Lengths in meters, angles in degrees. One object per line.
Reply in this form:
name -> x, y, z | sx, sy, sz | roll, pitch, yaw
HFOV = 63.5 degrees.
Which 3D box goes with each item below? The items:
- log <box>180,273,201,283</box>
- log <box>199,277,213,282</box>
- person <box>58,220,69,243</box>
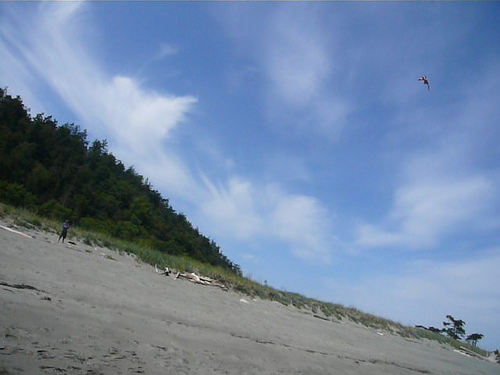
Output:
log -> -3.068, 4.669, 21.068 | 1.019, 0.383, 0.624 | 17, -6, -28
log -> -2.339, 4.936, 21.722 | 0.271, 0.143, 0.984 | 11, -7, 30
person -> -8.995, 2.081, 19.471 | 0.324, 1.100, 1.596 | 13, -5, -23
